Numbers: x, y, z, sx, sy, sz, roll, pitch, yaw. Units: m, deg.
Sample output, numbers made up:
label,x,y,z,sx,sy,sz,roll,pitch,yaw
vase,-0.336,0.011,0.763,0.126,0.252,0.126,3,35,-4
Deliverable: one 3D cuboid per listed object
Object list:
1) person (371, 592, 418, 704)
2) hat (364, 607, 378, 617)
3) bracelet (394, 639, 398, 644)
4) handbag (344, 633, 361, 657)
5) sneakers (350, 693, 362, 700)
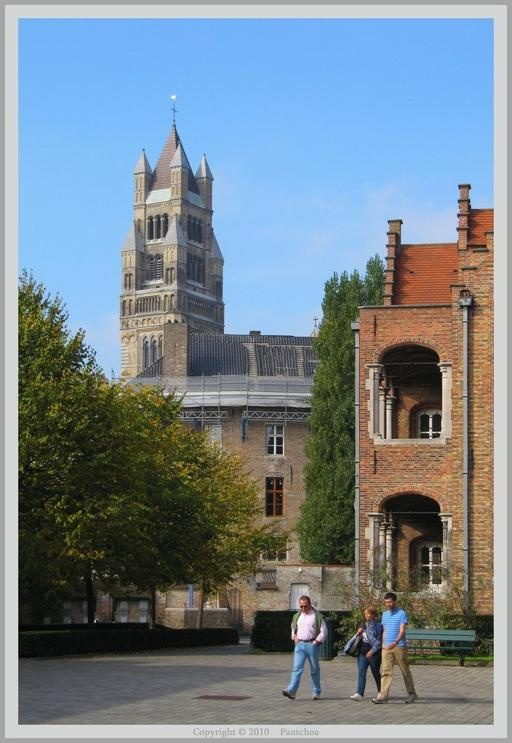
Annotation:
label,x,y,z,sx,sy,sz,roll,pitch,yaw
person,2.081,4.094,30.755,0.628,1.677,2.058,-2,-9,4
hat,1.683,3.553,30.299,0.137,0.177,0.180,-5,16,33
bracelet,2.056,3.899,29.866,0.030,0.057,0.039,4,3,-6
handbag,1.401,4.005,30.324,0.375,0.309,0.235,7,-12,-42
sneakers,1.478,4.740,30.076,0.150,0.105,0.216,-2,-9,2
